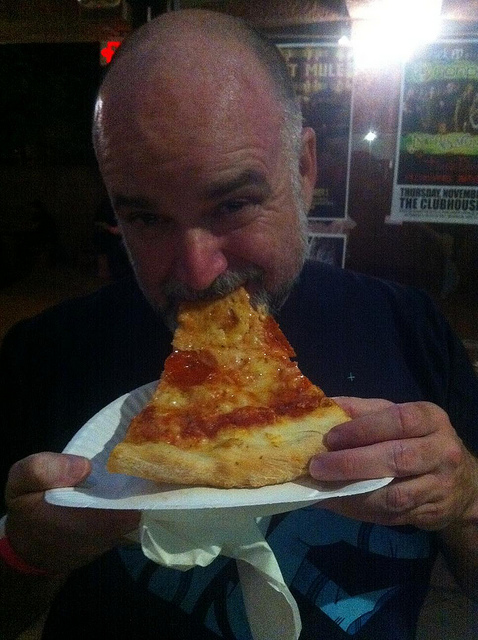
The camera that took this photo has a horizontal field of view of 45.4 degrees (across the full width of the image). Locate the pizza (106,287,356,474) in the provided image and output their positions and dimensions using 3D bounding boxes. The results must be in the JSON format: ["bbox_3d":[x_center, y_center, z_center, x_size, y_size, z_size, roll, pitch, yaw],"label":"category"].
[{"bbox_3d":[-0.015,0.153,1.721,0.668,0.390,0.604,-1,16,-2],"label":"pizza"}]

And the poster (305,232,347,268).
[{"bbox_3d":[0.288,-0.234,1.907,0.140,0.110,0.027,8,20,28],"label":"poster"}]
